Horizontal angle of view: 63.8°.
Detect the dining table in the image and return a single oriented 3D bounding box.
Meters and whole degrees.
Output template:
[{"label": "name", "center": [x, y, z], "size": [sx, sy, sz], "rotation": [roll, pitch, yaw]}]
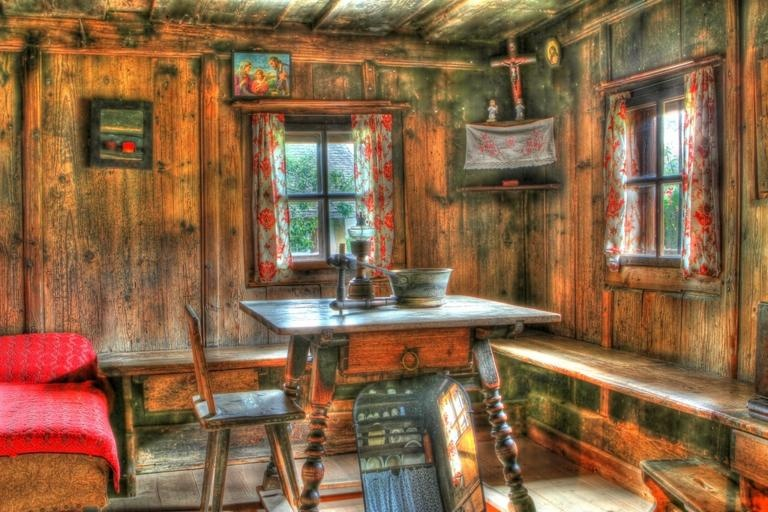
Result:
[{"label": "dining table", "center": [0.149, 0.586, 3.881], "size": [1.734, 1.063, 1.679], "rotation": [0, -3, -11]}]
